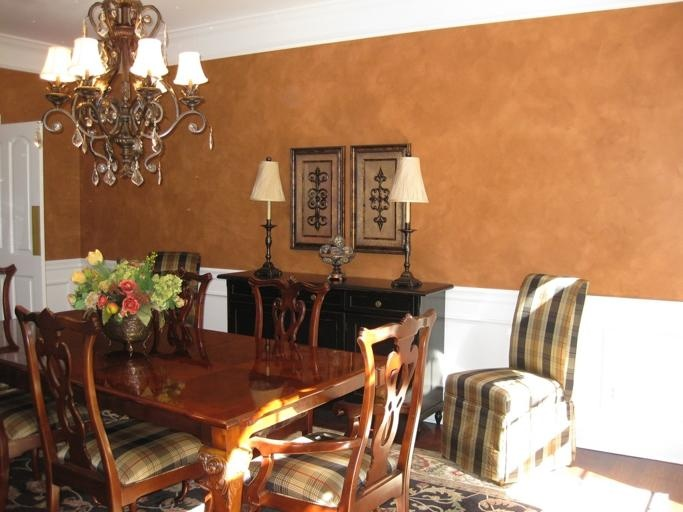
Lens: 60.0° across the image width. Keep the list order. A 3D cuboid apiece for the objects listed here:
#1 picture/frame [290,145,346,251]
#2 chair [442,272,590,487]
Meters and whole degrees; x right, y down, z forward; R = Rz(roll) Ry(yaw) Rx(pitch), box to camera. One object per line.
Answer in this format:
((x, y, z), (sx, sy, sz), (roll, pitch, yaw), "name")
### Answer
((-0.235, -0.519, 5.422), (0.595, 0.935, 0.128), (6, 11, 27), "picture/frame")
((1.255, 0.839, 4.281), (0.840, 1.342, 0.727), (-1, 5, -22), "chair")
